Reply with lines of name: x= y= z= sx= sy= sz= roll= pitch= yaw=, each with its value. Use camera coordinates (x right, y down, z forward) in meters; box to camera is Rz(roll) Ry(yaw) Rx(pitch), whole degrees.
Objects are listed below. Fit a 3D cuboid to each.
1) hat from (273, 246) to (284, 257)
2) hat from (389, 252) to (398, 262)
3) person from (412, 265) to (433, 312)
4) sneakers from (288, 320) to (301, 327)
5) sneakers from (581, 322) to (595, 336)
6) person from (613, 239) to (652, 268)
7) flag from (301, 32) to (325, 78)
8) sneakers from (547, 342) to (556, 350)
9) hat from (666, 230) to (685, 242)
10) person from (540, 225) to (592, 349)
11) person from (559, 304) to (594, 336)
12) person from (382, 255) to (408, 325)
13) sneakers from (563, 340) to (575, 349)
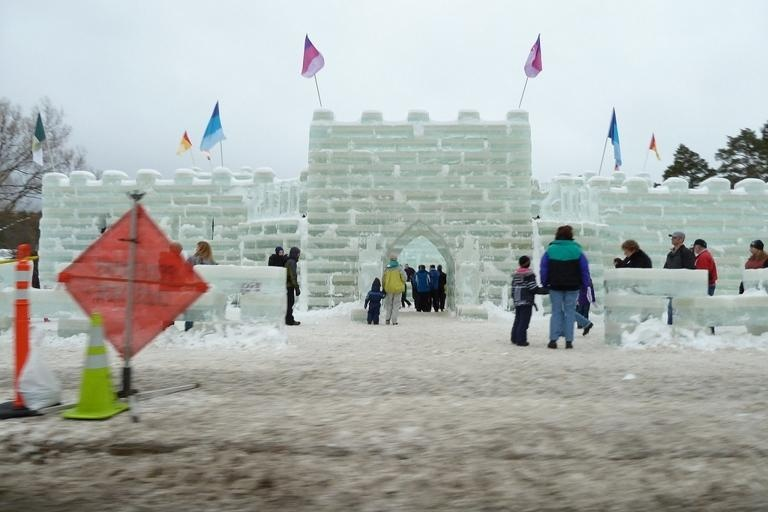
hat: x=-2.444 y=-0.104 z=21.217 sx=0.168 sy=0.158 sz=0.129 roll=13 pitch=29 yaw=33
hat: x=0.212 y=0.033 z=21.309 sx=0.203 sy=0.174 sz=0.173 roll=0 pitch=3 yaw=-36
person: x=1.044 y=0.893 z=25.760 sx=0.470 sy=1.294 sz=1.080 roll=0 pitch=-1 yaw=3
sneakers: x=-1.977 y=1.459 z=20.161 sx=0.289 sy=0.187 sz=0.092 roll=-5 pitch=11 yaw=-18
sneakers: x=3.968 y=1.424 z=18.031 sx=0.232 sy=0.165 sz=0.502 roll=13 pitch=-11 yaw=12
person: x=4.768 y=-0.046 z=17.479 sx=0.463 sy=0.510 sz=0.805 roll=0 pitch=-1 yaw=7
flag: x=-1.840 y=-5.029 z=23.570 sx=0.510 sy=1.321 sz=1.746 roll=0 pitch=-1 yaw=-5
sneakers: x=2.942 y=1.559 z=16.264 sx=0.151 sy=0.133 sz=0.087 roll=4 pitch=-5 yaw=8
hat: x=6.688 y=-0.447 z=21.245 sx=0.376 sy=0.193 sz=0.246 roll=17 pitch=-1 yaw=3
person: x=3.192 y=0.535 z=16.399 sx=0.819 sy=2.142 sz=0.498 roll=0 pitch=-2 yaw=9
person: x=3.582 y=1.201 z=17.320 sx=0.206 sy=0.719 sz=0.911 roll=6 pitch=6 yaw=-23
person: x=0.207 y=0.760 z=21.212 sx=0.519 sy=1.527 sz=1.104 roll=0 pitch=-1 yaw=1
sneakers: x=3.251 y=1.546 z=16.267 sx=0.077 sy=0.134 sz=0.211 roll=4 pitch=7 yaw=30
